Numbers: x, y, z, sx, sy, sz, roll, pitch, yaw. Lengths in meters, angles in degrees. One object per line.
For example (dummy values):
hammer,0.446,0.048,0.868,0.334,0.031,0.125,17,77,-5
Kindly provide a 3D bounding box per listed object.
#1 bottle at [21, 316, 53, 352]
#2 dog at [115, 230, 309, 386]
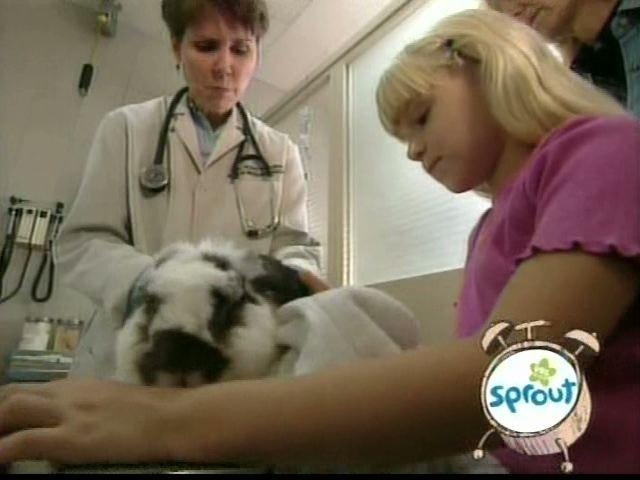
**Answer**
bottle,-0.583,0.196,1.139,0.058,0.067,0.064,18,-23,-41
dog,-0.293,0.193,1.424,0.378,0.357,0.658,1,-5,-6
